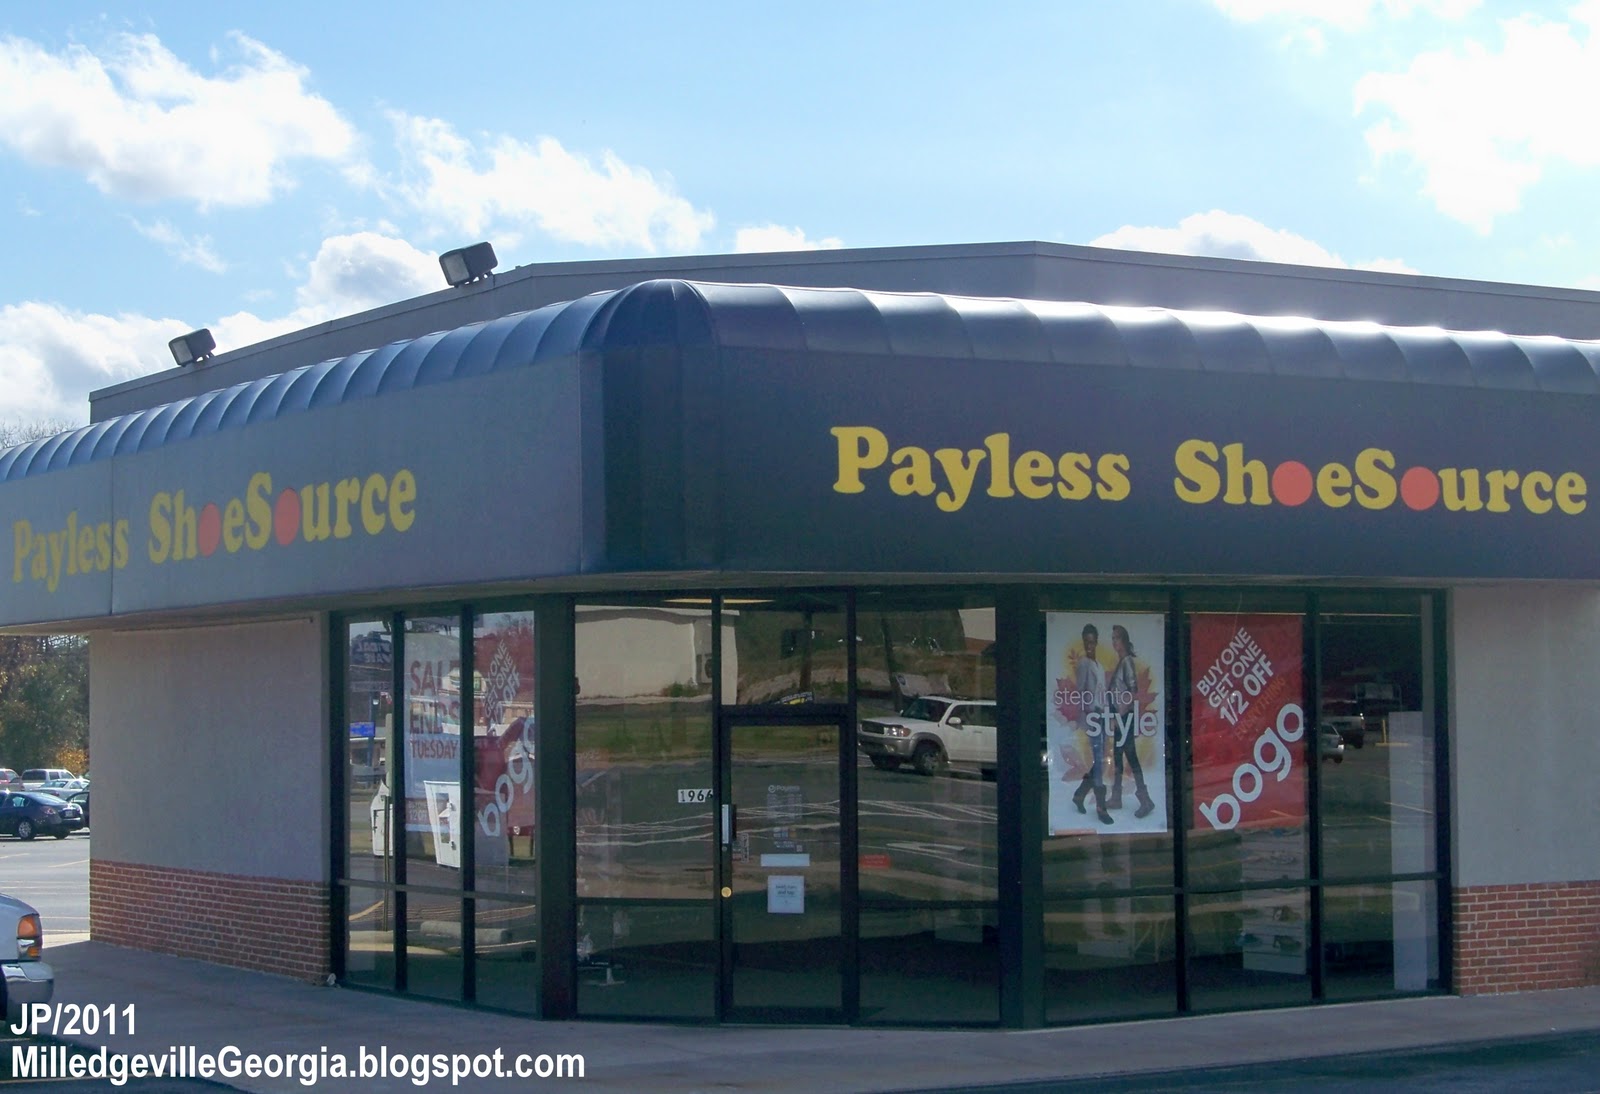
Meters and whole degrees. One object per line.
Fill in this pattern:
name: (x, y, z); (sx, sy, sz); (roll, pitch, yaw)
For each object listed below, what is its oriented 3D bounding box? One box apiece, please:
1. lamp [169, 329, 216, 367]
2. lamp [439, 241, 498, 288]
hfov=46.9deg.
lamp: (-8.786, -2.875, 26.850); (0.459, 0.496, 0.944); (-9, 11, -43)
lamp: (-4.132, -3.478, 22.923); (0.666, 0.528, 0.398); (-1, 8, 6)
